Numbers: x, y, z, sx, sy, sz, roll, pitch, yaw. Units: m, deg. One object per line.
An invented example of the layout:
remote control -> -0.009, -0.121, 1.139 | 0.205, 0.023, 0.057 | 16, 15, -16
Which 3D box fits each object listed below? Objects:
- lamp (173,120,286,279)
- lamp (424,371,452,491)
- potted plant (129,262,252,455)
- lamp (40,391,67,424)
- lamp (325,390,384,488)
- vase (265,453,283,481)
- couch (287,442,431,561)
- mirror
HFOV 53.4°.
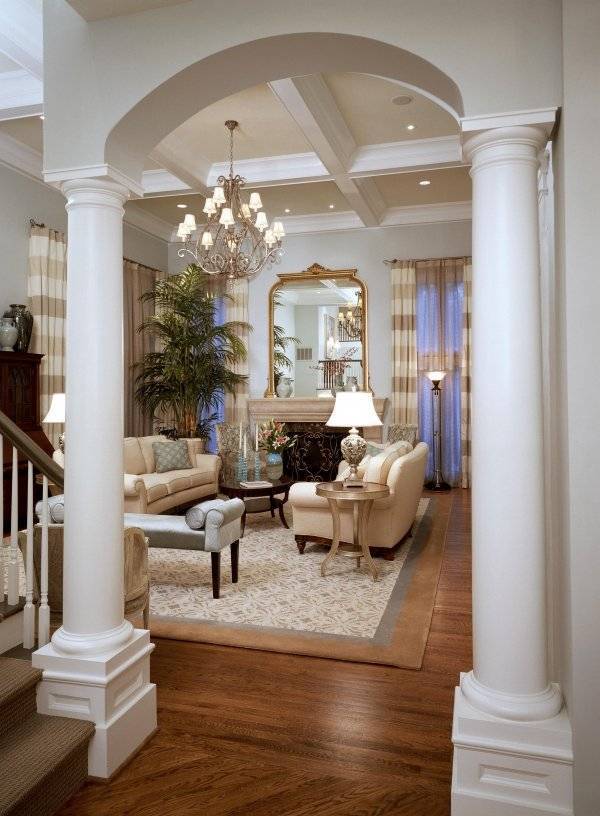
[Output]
lamp -> -0.694, -2.081, 5.985 | 0.988, 1.544, 0.973 | -2, 6, -27
lamp -> 1.767, 0.279, 7.625 | 0.246, 1.482, 0.345 | -1, 2, 12
potted plant -> -1.481, -0.697, 7.865 | 1.460, 2.196, 1.141 | -2, 2, -18
lamp -> -1.952, 0.004, 4.714 | 0.134, 0.226, 0.444 | -3, 2, -27
lamp -> 0.430, 0.183, 4.573 | 0.571, 0.975, 0.580 | 0, 4, 8
vase -> -0.255, 0.558, 5.790 | 0.155, 0.238, 0.376 | -2, 2, -4
couch -> 0.689, 0.661, 5.174 | 0.977, 0.932, 1.745 | 3, 7, 29
mirror -> 0.311, -1.020, 7.971 | 1.740, 2.203, 0.117 | -1, -4, 11
